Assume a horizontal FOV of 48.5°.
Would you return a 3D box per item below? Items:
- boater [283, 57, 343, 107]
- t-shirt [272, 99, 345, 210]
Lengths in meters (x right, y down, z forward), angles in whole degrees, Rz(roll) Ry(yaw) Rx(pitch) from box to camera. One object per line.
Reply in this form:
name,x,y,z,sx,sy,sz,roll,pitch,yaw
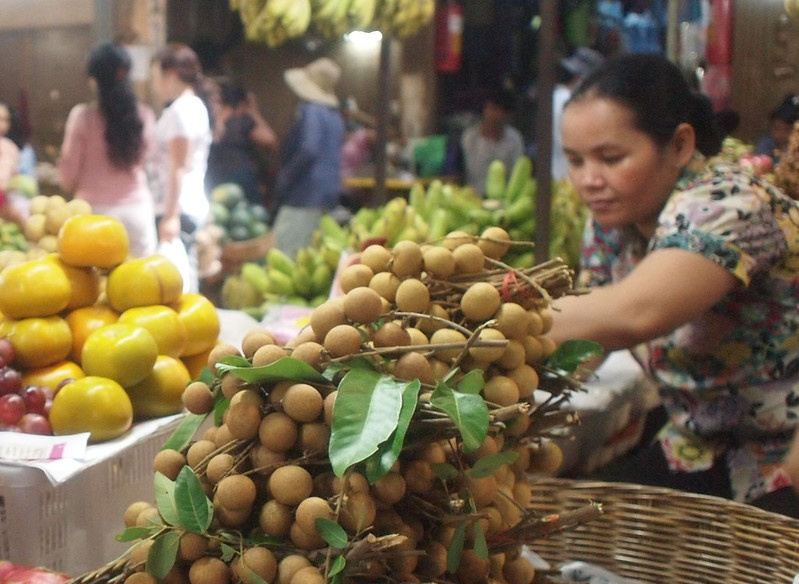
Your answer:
boater,-0.444,-1.103,4.701,0.206,0.138,0.284,50,36,9
t-shirt,-0.459,-0.743,4.695,0.326,0.581,0.141,1,14,-32
